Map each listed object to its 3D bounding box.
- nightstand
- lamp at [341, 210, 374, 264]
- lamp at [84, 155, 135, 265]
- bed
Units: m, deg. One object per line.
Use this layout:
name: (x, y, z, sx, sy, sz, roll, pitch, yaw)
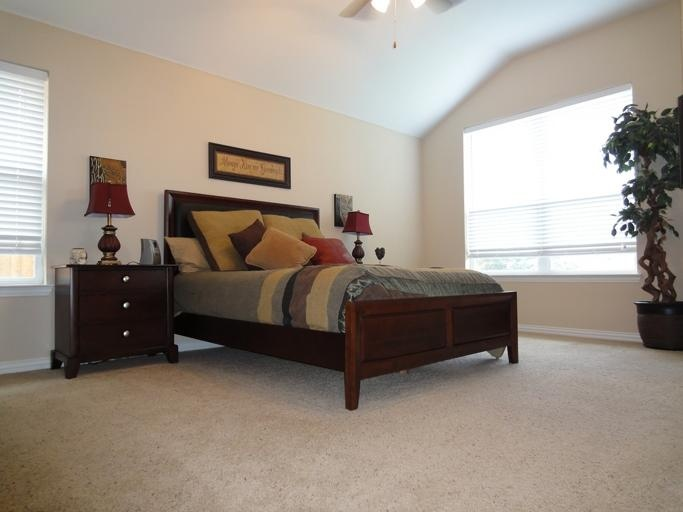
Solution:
nightstand: (-1.899, 0.517, 3.901, 0.845, 0.867, 0.533, 0, -5, -38)
lamp: (0.217, -0.216, 5.565, 0.317, 0.609, 0.350, 6, -3, -37)
lamp: (-1.973, -0.392, 3.919, 0.322, 0.908, 0.325, 0, -2, -32)
bed: (-0.251, 0.308, 3.807, 1.759, 1.404, 2.187, 1, -3, -44)
